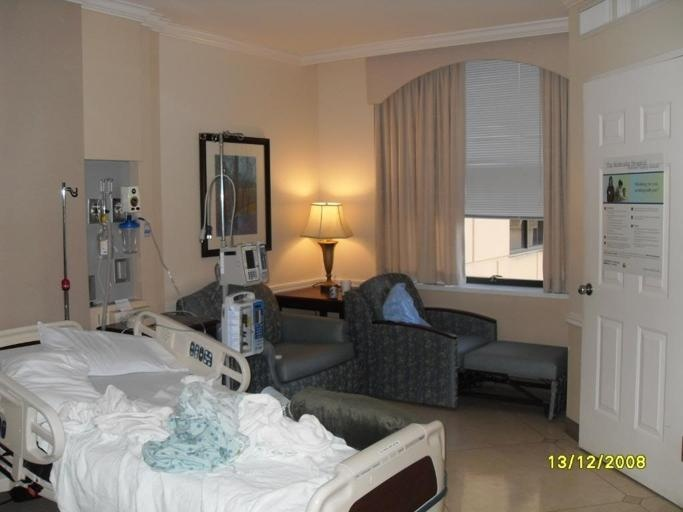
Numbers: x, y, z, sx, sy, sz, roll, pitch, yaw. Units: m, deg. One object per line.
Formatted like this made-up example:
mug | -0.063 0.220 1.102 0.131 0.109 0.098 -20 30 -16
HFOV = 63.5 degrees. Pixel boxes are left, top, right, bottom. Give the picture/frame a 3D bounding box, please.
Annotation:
picture/frame | -1.043 -0.608 5.188 0.052 1.360 1.086 4 8 33

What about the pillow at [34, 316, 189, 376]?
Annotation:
pillow | -1.524 0.623 3.604 0.541 0.141 0.527 6 20 -35

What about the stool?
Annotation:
stool | 1.573 1.049 4.908 0.984 0.494 1.064 0 1 4

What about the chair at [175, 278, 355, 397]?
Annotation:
chair | -0.600 0.860 4.959 1.318 1.287 1.068 -6 3 36

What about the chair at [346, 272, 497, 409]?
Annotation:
chair | 0.792 0.714 5.138 0.991 1.123 0.979 -2 1 35

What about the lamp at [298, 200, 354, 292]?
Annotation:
lamp | -0.147 -0.108 6.027 0.513 0.940 0.540 0 7 5

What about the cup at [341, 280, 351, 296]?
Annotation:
cup | 0.066 0.318 5.619 0.099 0.178 0.105 1 5 0
